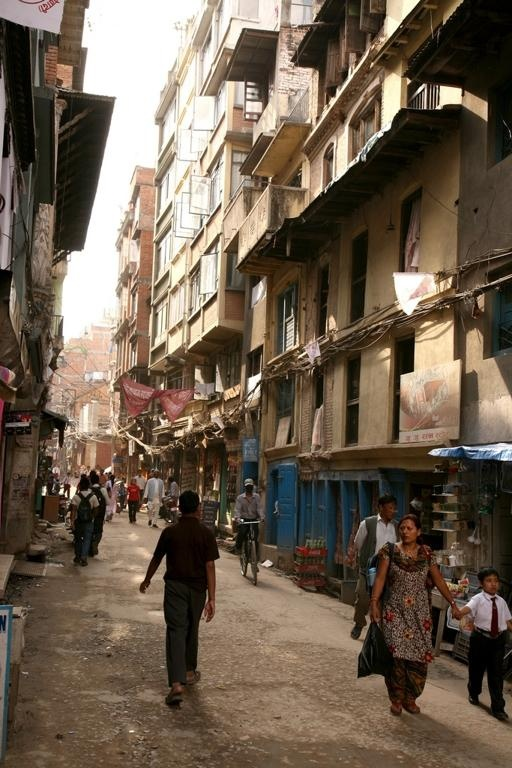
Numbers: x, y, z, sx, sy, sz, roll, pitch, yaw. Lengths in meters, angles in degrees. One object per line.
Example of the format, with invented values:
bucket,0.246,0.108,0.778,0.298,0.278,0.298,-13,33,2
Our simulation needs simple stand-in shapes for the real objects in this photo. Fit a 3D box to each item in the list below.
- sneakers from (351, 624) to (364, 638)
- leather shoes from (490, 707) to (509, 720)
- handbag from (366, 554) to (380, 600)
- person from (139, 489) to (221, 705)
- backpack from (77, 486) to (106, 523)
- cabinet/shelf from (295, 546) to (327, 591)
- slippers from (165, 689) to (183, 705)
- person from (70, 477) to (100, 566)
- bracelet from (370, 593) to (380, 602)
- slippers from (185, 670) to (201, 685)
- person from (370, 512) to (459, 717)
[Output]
sneakers,1.143,2.854,7.794,0.130,0.197,0.426,4,-15,6
leather shoes,1.878,2.543,5.201,0.047,0.074,0.153,2,6,-4
handbag,0.853,1.437,5.058,0.172,0.260,0.077,-2,1,-30
person,-0.583,1.575,5.158,0.546,1.504,1.064,3,-8,-4
backpack,-3.380,2.437,13.791,0.727,0.837,0.404,1,-1,-11
cabinet/shelf,1.116,3.666,13.509,0.563,1.096,1.074,1,-2,-3
slippers,-0.566,2.145,4.658,0.120,0.128,0.227,3,-9,-6
person,-3.496,2.760,13.735,0.524,1.685,1.244,4,-9,-14
bracelet,0.853,1.526,4.836,0.086,0.027,0.090,2,-4,28
slippers,-0.502,2.331,5.373,0.071,0.097,0.210,2,3,7
person,1.106,1.698,4.931,0.665,1.459,0.446,3,-8,-4
